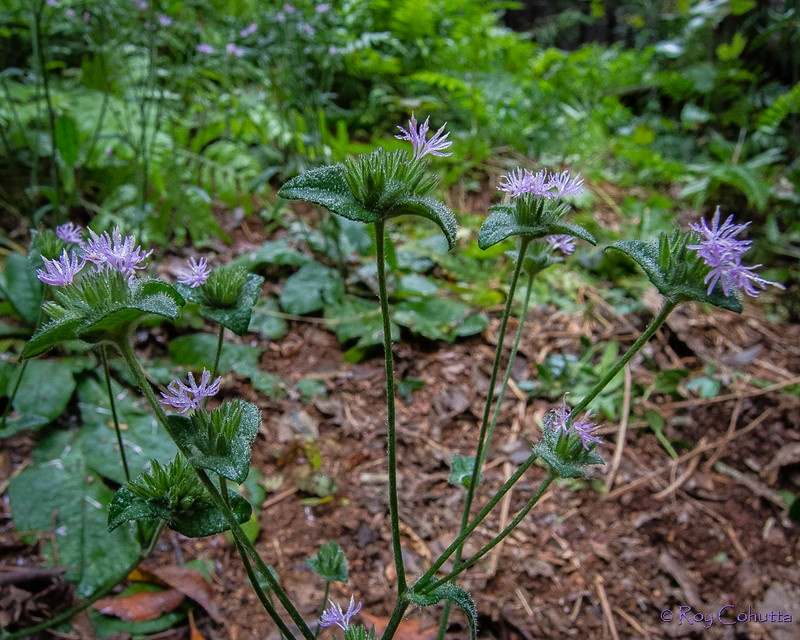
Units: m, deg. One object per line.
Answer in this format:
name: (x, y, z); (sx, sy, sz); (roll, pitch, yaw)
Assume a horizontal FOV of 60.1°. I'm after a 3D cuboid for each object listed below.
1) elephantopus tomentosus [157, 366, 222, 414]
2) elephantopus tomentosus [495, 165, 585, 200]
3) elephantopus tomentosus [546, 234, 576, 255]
elephantopus tomentosus: (-0.657, 0.223, 2.160); (0.178, 0.096, 0.180); (-3, 21, 29)
elephantopus tomentosus: (0.419, -0.377, 1.972); (0.224, 0.087, 0.196); (1, 5, -42)
elephantopus tomentosus: (0.507, -0.242, 2.167); (0.071, 0.040, 0.068); (20, 67, -28)
